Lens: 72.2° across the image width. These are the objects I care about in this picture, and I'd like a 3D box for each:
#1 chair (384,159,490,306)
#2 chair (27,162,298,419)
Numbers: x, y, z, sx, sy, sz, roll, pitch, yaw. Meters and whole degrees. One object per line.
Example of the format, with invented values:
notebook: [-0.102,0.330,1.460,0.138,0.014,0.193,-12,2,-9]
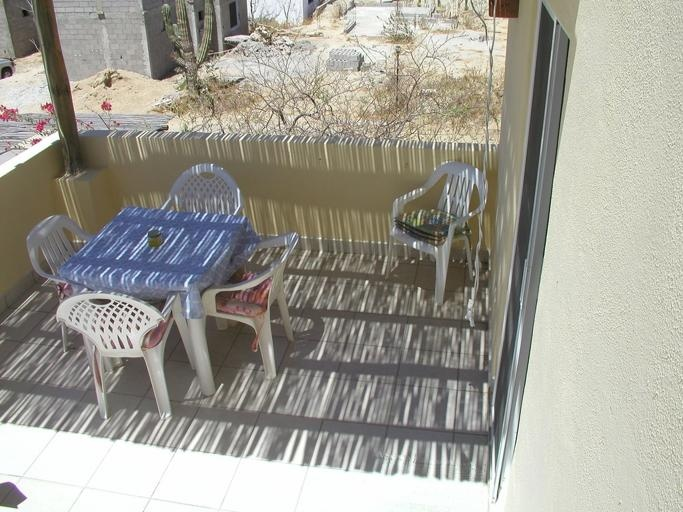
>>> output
chair: [0.849,-0.269,4.284,0.822,1.013,0.914,7,34,17]
chair: [-1.291,0.235,3.619,1.627,1.142,1.680,-29,41,-34]
